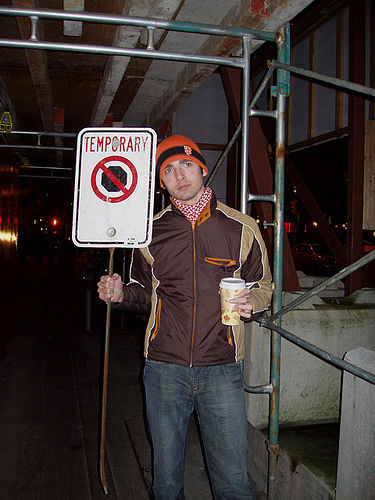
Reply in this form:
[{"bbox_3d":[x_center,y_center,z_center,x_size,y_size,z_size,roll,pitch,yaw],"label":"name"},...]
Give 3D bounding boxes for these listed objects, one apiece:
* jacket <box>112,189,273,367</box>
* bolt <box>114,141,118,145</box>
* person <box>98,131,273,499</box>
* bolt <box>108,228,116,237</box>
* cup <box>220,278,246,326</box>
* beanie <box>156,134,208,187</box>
[{"bbox_3d":[0.026,0.146,2.327,0.768,0.896,0.431,1,3,2],"label":"jacket"},{"bbox_3d":[-0.321,-0.486,1.983,0.014,0.011,0.001,3,2,9],"label":"bolt"},{"bbox_3d":[0.019,0.291,2.190,0.771,1.820,0.565,2,2,13],"label":"person"},{"bbox_3d":[-0.334,-0.079,1.957,0.031,0.040,0.007,3,2,11],"label":"bolt"},{"bbox_3d":[0.208,0.239,2.074,0.120,0.223,0.139,-1,11,-10],"label":"cup"},{"bbox_3d":[-0.047,-0.521,2.467,0.204,0.268,0.258,-5,-22,-4],"label":"beanie"}]
